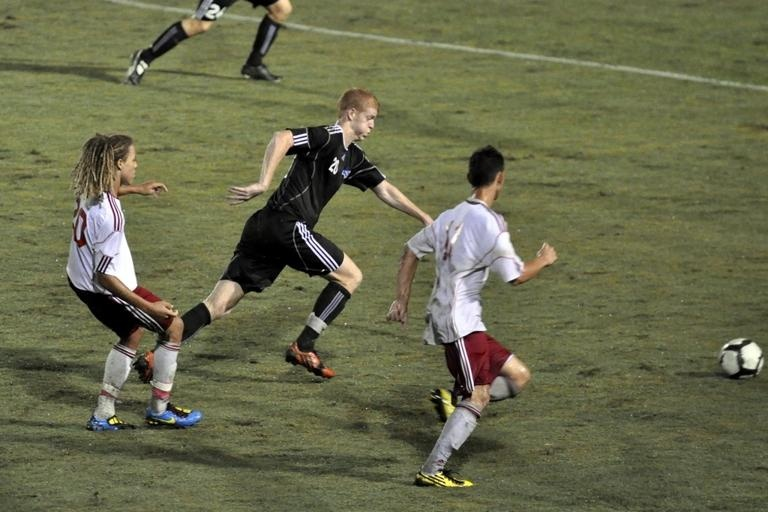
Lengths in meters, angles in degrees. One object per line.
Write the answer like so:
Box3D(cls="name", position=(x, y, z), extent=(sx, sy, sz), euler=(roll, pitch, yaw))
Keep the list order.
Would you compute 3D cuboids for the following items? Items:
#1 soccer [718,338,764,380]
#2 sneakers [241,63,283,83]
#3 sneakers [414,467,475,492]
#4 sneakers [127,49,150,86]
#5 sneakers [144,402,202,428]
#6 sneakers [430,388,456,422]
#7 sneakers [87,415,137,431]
Box3D(cls="soccer", position=(3.591, 1.059, 15.857), extent=(0.350, 0.330, 0.344), euler=(29, 1, 44))
Box3D(cls="sneakers", position=(-1.751, -2.549, 21.839), extent=(0.753, 0.229, 0.194), euler=(1, 37, -10))
Box3D(cls="sneakers", position=(0.533, 2.087, 14.593), extent=(0.652, 0.178, 0.178), euler=(0, 7, -4))
Box3D(cls="sneakers", position=(-3.297, -2.519, 21.084), extent=(0.344, 0.602, 0.197), euler=(13, 47, -21))
Box3D(cls="sneakers", position=(-2.009, 1.543, 15.227), extent=(0.659, 0.207, 0.204), euler=(-1, 18, -7))
Box3D(cls="sneakers", position=(0.551, 1.428, 14.993), extent=(0.135, 0.316, 0.207), euler=(-27, 31, -1))
Box3D(cls="sneakers", position=(-2.629, 1.613, 15.157), extent=(0.473, 0.134, 0.143), euler=(0, 4, -17))
